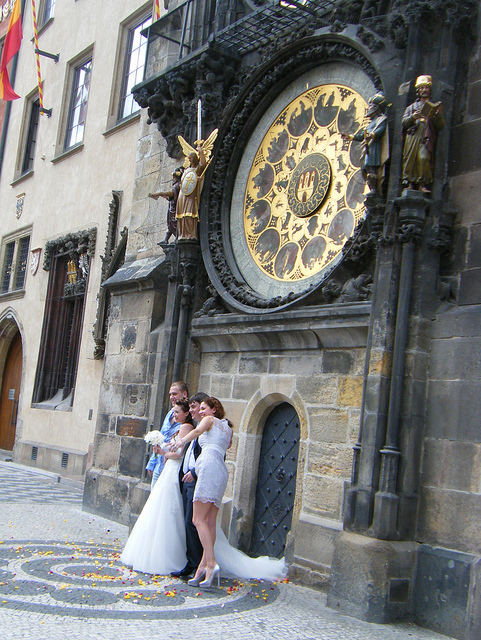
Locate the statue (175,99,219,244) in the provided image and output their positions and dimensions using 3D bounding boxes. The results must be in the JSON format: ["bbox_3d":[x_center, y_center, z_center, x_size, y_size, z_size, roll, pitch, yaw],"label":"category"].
[{"bbox_3d":[-0.546,-1.681,8.019,0.264,1.497,0.670,3,1,-44],"label":"statue"}]

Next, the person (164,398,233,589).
[{"bbox_3d":[-0.293,1.327,5.400,0.362,1.424,0.316,7,-11,-4],"label":"person"}]

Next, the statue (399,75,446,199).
[{"bbox_3d":[1.383,-1.406,5.271,0.296,0.914,0.275,3,-1,39],"label":"statue"}]

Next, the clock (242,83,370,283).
[{"bbox_3d":[0.692,-1.342,6.905,0.111,1.788,1.820,15,-32,-31],"label":"clock"}]

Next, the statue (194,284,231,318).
[{"bbox_3d":[-0.323,-0.153,7.831,0.350,0.438,0.375,10,-19,-32],"label":"statue"}]
